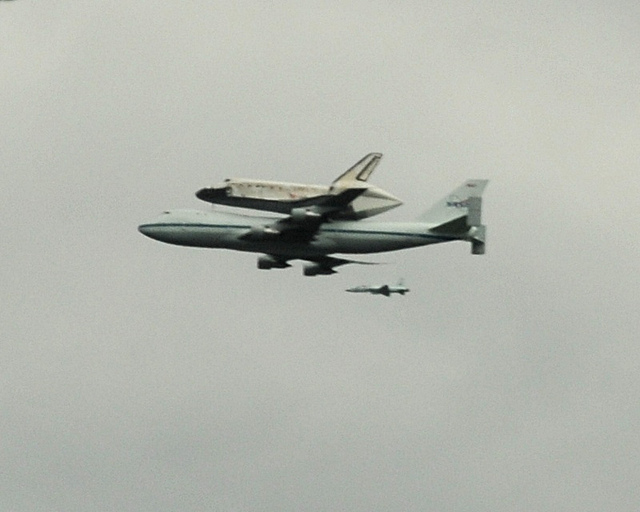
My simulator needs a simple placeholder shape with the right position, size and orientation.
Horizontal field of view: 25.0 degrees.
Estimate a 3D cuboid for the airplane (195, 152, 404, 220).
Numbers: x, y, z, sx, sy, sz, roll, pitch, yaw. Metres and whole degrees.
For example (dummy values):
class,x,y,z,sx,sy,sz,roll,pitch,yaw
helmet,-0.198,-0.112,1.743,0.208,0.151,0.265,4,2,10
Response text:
class,x,y,z,sx,sy,sz,roll,pitch,yaw
airplane,-0.668,-2.092,50.910,5.458,1.549,4.542,5,-6,-3
